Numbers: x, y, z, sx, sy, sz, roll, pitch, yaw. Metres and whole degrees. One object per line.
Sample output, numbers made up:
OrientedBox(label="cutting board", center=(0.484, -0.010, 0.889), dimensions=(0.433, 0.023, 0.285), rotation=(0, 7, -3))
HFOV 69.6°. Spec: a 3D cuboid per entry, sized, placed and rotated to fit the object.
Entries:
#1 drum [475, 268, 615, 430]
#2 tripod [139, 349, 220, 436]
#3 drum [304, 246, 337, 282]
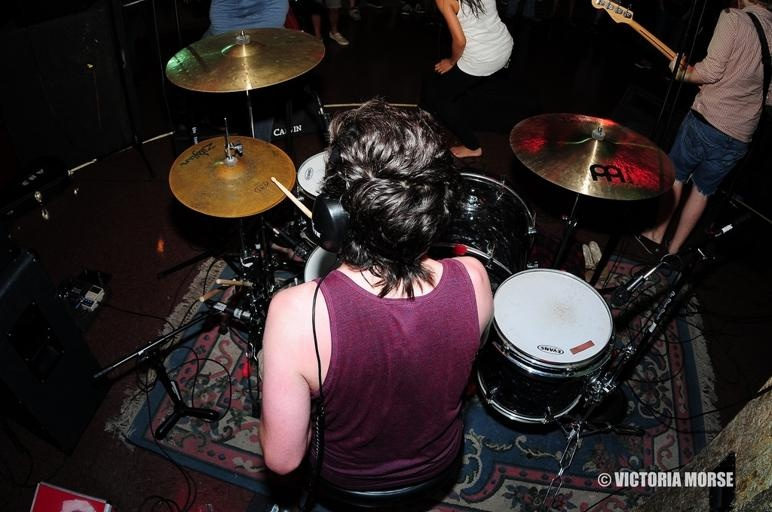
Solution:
OrientedBox(label="drum", center=(1.215, 0.746, 4.326), dimensions=(0.914, 0.867, 0.952), rotation=(26, 48, 25))
OrientedBox(label="tripod", center=(-1.751, 1.128, 4.574), dimensions=(0.564, 0.166, 0.710), rotation=(-4, 47, -49))
OrientedBox(label="drum", center=(-0.489, 0.062, 4.055), dimensions=(0.256, 0.237, 0.088), rotation=(-39, 56, -21))
